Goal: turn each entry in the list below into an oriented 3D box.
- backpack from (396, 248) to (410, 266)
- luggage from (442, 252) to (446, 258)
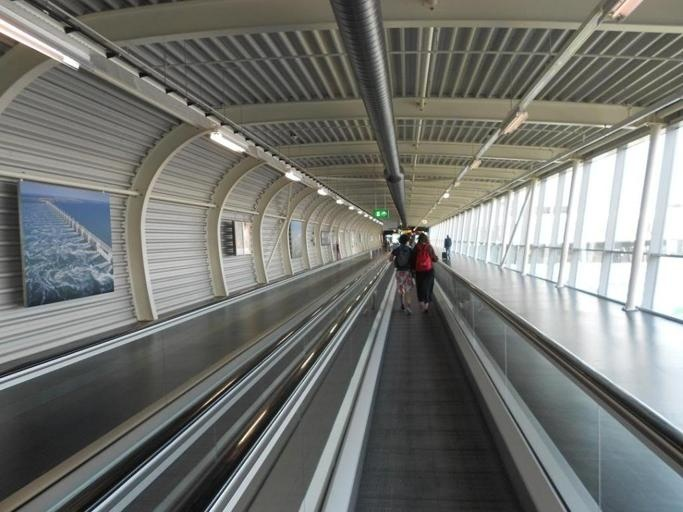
[{"bbox_3d":[1.543,0.043,9.303,0.455,0.583,0.342,0,-11,8],"label":"backpack"},{"bbox_3d":[6.493,-0.051,23.567,0.284,0.279,0.461,-2,-88,25],"label":"luggage"}]
